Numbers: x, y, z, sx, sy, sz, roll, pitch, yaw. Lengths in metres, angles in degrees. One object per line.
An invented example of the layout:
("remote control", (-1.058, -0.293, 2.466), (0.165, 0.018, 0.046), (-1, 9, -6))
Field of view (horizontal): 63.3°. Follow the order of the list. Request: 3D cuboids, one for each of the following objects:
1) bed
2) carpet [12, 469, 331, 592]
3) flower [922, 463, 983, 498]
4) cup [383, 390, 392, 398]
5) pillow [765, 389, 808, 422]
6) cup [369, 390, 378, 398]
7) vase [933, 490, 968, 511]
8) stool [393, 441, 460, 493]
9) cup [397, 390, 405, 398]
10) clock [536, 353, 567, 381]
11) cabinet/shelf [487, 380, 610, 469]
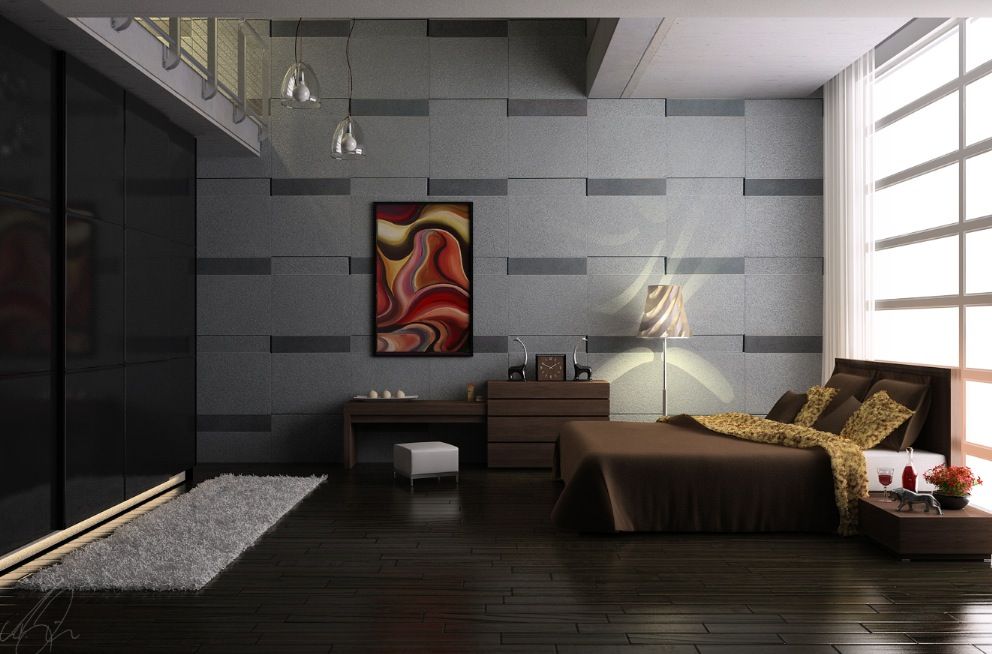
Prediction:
("bed", (2.165, 1.171, 6.786), (2.044, 0.831, 1.924), (0, -3, 4))
("carpet", (-2.465, 1.634, 6.519), (1.331, 0.179, 2.201), (2, 12, 11))
("flower", (3.423, 1.121, 6.129), (0.354, 0.172, 0.325), (0, -3, 5))
("cup", (-1.162, 0.721, 8.600), (0.070, 0.058, 0.089), (2, 3, 27))
("pillow", (2.775, 0.762, 7.658), (0.121, 0.240, 0.409), (25, -7, -3))
("cup", (-1.310, 0.723, 8.589), (0.080, 0.053, 0.077), (2, 1, 0))
("vase", (3.397, 1.299, 6.000), (0.182, 0.071, 0.170), (0, -9, 5))
("stool", (-0.664, 1.346, 7.781), (0.491, 0.288, 0.452), (0, -3, -11))
("cup", (-1.010, 0.727, 8.628), (0.060, 0.085, 0.099), (-7, -10, 44))
("clock", (0.584, 0.442, 8.559), (0.304, 0.249, 0.092), (1, -3, -1))
("cabinet/shelf", (0.498, 0.985, 8.016), (1.004, 0.605, 0.327), (0, -4, -1))
